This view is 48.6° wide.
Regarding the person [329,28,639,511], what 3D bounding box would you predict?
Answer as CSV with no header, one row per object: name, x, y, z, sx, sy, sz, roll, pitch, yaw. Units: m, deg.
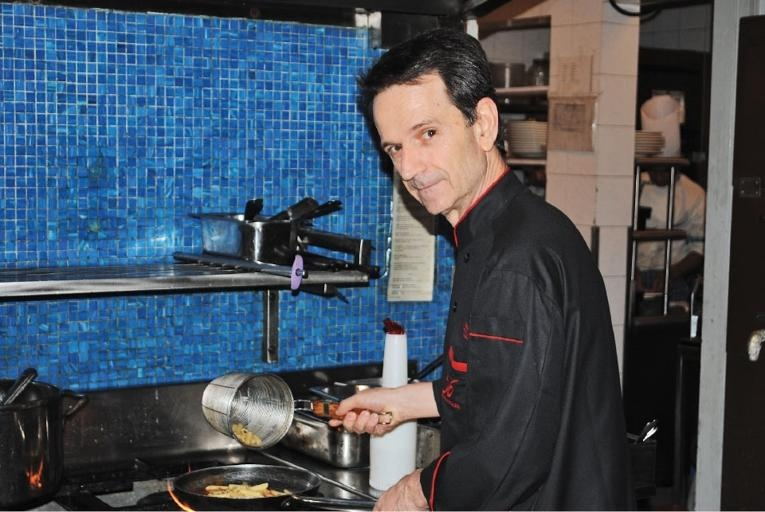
person,0.206,-0.032,3.295,1.217,2.014,1.395,-1,2,7

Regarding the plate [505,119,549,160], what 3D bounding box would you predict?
plate,0.941,-0.741,5.348,0.292,0.208,0.216,2,9,20

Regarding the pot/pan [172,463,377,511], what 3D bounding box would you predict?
pot/pan,-0.408,0.780,2.870,0.422,0.057,0.252,5,-1,14
